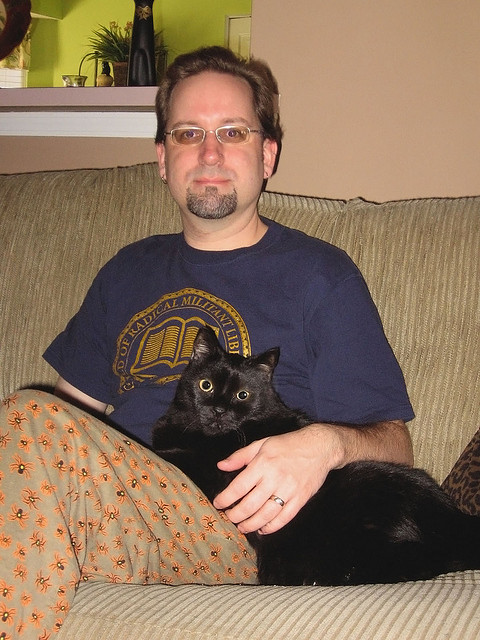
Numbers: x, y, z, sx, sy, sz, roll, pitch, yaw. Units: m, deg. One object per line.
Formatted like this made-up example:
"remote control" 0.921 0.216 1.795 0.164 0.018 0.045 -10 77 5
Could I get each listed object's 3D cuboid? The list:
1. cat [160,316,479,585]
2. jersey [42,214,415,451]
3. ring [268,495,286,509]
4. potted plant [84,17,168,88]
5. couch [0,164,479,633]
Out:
"cat" 0.111 0.216 1.112 0.371 0.444 0.584 -10 5 -41
"jersey" 0.005 0.033 1.325 0.609 0.361 0.219 3 -8 17
"ring" 0.058 0.293 1.013 0.005 0.020 0.021 -52 15 -5
"potted plant" -0.570 -1.246 2.933 0.387 0.229 0.267 -4 27 -16
"couch" 0.209 0.098 1.370 1.375 0.832 0.285 2 -16 24
